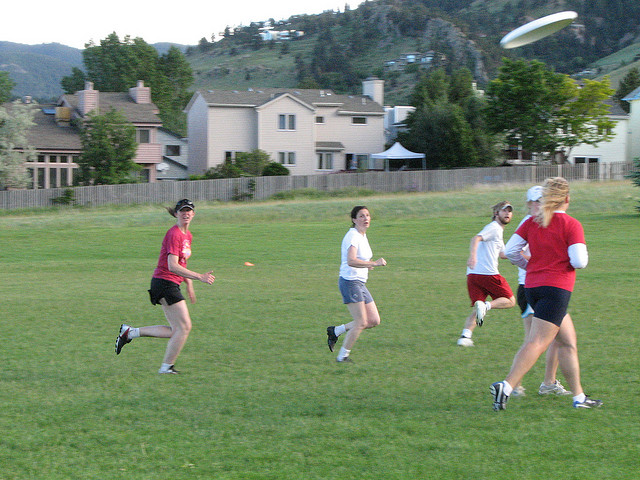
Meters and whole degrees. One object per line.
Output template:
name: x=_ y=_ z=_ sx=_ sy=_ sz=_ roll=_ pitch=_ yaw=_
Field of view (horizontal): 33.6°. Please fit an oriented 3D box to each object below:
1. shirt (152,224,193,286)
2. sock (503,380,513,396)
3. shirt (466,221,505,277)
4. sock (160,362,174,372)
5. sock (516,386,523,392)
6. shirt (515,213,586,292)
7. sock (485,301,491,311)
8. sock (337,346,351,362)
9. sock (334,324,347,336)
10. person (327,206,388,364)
shirt: x=-2.559 y=0.267 z=18.516 sx=0.604 sy=1.095 sz=0.545 roll=-1 pitch=13 yaw=13
sock: x=3.102 y=2.403 z=17.347 sx=0.152 sy=0.244 sz=0.127 roll=-2 pitch=13 yaw=8
shirt: x=3.178 y=0.141 z=20.191 sx=0.697 sy=1.056 sz=0.465 roll=-3 pitch=13 yaw=6
sock: x=-2.706 y=2.219 z=18.735 sx=0.250 sy=0.159 sz=0.128 roll=1 pitch=13 yaw=20
sock: x=3.424 y=2.514 z=18.034 sx=0.100 sy=0.081 sz=0.093 roll=0 pitch=7 yaw=12
shirt: x=4.026 y=0.199 z=17.537 sx=0.944 sy=1.163 sz=1.664 roll=-1 pitch=5 yaw=-32
sock: x=3.200 y=1.233 z=20.007 sx=0.102 sy=0.150 sz=0.198 roll=-2 pitch=11 yaw=10
sock: x=0.447 y=2.057 z=19.324 sx=0.258 sy=0.245 sz=0.245 roll=-3 pitch=46 yaw=2
sock: x=0.444 y=1.651 z=19.616 sx=0.275 sy=0.207 sz=0.155 roll=6 pitch=16 yaw=39
person: x=0.646 y=0.793 z=19.253 sx=1.033 sy=2.814 sz=0.977 roll=-6 pitch=14 yaw=-4
